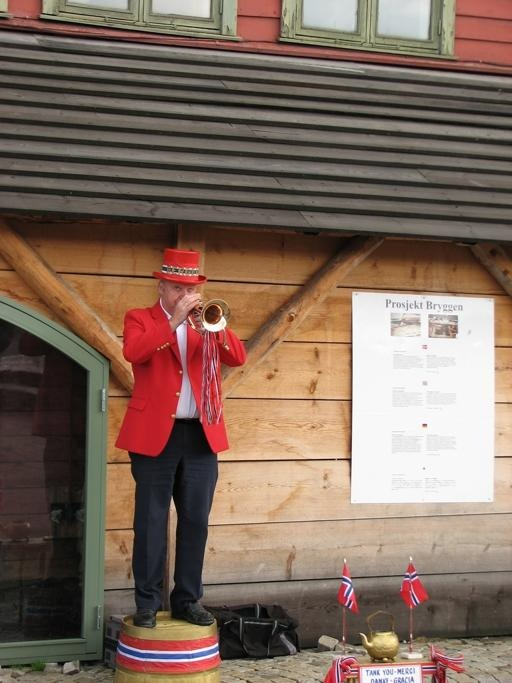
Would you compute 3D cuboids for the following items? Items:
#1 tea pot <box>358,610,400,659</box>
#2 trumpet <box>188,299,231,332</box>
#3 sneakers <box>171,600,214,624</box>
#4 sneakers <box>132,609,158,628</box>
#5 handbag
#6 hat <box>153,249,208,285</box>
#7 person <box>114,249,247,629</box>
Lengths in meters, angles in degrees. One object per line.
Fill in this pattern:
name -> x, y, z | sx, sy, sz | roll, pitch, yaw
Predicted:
tea pot -> 0.587, 1.415, 4.730 | 0.154, 0.138, 0.225 | 1, -7, 9
trumpet -> -0.215, -0.126, 4.855 | 0.184, 0.130, 0.182 | 38, -14, -28
sneakers -> -0.297, 1.334, 4.992 | 0.228, 0.078, 0.083 | -6, -8, 41
sneakers -> -0.516, 1.321, 4.858 | 0.111, 0.074, 0.171 | 3, -7, -5
handbag -> -0.006, 1.605, 5.698 | 0.493, 0.156, 0.320 | 0, -5, -11
hat -> -0.384, -0.385, 5.012 | 0.223, 0.111, 0.236 | 0, 14, -45
person -> -0.386, 0.456, 5.017 | 0.503, 1.829, 0.621 | -2, -9, 33
